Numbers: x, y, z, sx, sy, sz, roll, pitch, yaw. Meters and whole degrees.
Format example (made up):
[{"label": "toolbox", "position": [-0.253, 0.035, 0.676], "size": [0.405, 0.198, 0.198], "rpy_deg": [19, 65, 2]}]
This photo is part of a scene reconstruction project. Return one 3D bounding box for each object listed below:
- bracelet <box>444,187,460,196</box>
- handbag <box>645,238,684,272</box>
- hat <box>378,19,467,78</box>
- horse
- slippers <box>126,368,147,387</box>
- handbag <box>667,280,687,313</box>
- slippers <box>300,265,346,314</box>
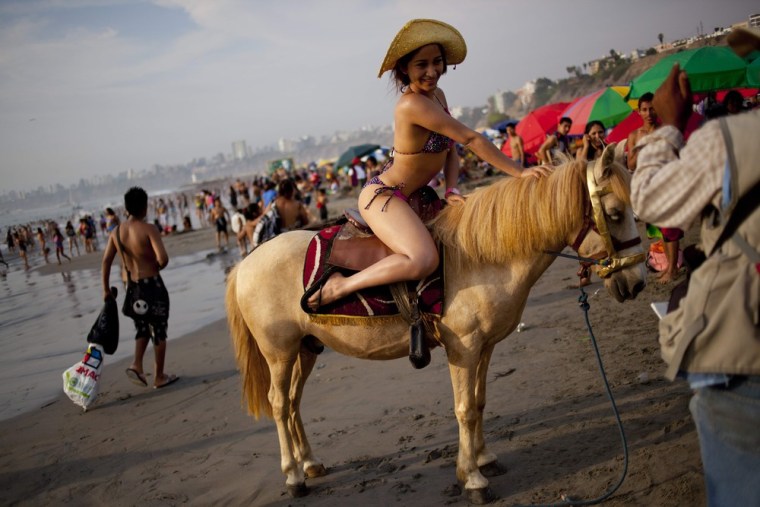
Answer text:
[{"label": "bracelet", "position": [0.683, -0.600, 5.913], "size": [0.190, 0.130, 0.259], "rpy_deg": [-1, 5, 4]}, {"label": "handbag", "position": [4.126, 0.033, 8.922], "size": [0.218, 0.274, 0.676], "rpy_deg": [-7, 23, 17]}, {"label": "hat", "position": [0.391, -1.869, 5.445], "size": [0.815, 0.391, 0.311], "rpy_deg": [-14, 10, -24]}, {"label": "horse", "position": [0.641, 0.900, 6.238], "size": [3.983, 3.447, 1.355], "rpy_deg": [0, 7, 16]}, {"label": "slippers", "position": [-3.451, 1.735, 8.677], "size": [0.173, 0.394, 0.129], "rpy_deg": [-6, 41, 17]}, {"label": "handbag", "position": [2.095, 0.314, 4.308], "size": [0.079, 0.308, 0.099], "rpy_deg": [31, -25, -22]}, {"label": "slippers", "position": [-0.565, 0.283, 5.690], "size": [0.601, 0.227, 0.158], "rpy_deg": [-51, 4, 9]}]
